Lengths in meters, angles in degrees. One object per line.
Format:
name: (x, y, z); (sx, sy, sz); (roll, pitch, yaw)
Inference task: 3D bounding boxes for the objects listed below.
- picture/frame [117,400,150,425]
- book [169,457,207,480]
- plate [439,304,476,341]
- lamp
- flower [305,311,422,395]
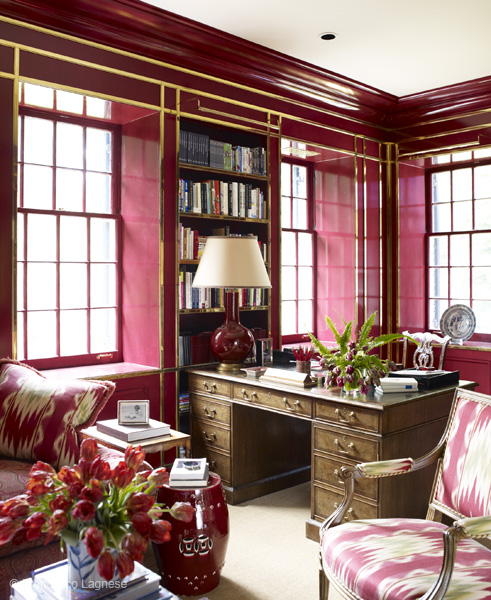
picture/frame: (-0.568, 0.574, 2.523); (0.122, 0.095, 0.012); (1, -11, -9)
book: (-0.255, 0.757, 2.221); (0.105, 0.024, 0.103); (0, 5, 8)
plate: (2.139, 0.229, 5.014); (0.346, 0.380, 0.135); (-2, -4, 32)
lamp: (-0.090, 0.032, 3.374); (0.509, 0.917, 0.501); (0, -3, 1)
flower: (0.607, 0.303, 2.765); (0.400, 0.414, 0.330); (1, -3, -8)
